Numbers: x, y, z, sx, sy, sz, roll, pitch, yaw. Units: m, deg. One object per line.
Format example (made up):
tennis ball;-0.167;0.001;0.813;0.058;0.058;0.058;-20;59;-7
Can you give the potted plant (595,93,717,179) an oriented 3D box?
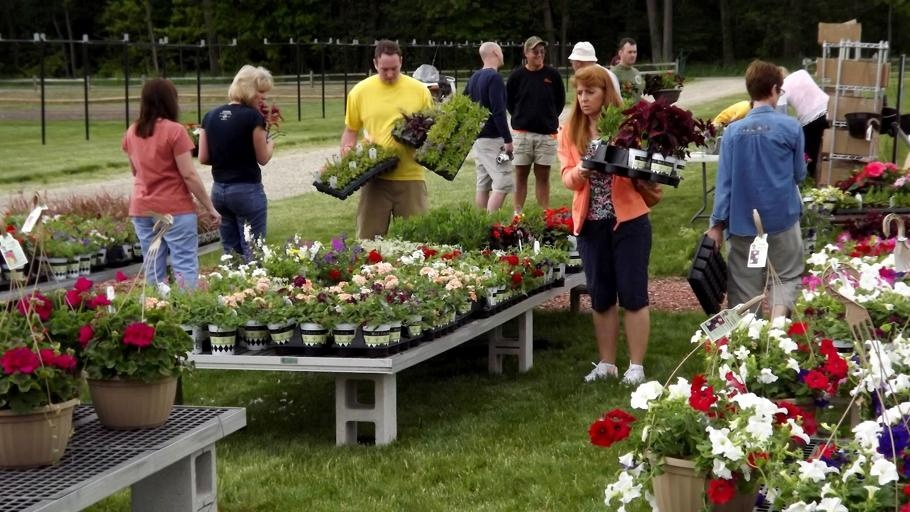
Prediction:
potted plant;1.724;-1.005;7.975;0.767;0.548;0.767;20;18;41

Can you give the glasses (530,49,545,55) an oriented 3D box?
glasses;1.132;-2.799;12.514;0.119;0.085;0.150;1;-3;-16

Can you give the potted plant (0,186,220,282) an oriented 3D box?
potted plant;-4.277;-0.267;10.582;1.627;0.657;2.177;3;17;10

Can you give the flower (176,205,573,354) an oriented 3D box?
flower;-0.649;0.203;8.370;3.642;0.889;1.645;-11;13;-39

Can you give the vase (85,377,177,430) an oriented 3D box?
vase;-2.179;0.995;6.191;0.426;0.259;0.424;0;-8;-4

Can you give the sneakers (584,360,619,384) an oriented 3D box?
sneakers;1.372;1.099;8.567;0.316;0.134;0.159;-4;-3;-3

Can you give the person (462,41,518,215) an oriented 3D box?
person;0.470;-1.756;12.411;0.620;2.297;1.235;-2;9;1

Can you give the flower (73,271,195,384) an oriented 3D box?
flower;-2.209;0.524;6.277;0.740;0.642;0.478;-6;10;-23
